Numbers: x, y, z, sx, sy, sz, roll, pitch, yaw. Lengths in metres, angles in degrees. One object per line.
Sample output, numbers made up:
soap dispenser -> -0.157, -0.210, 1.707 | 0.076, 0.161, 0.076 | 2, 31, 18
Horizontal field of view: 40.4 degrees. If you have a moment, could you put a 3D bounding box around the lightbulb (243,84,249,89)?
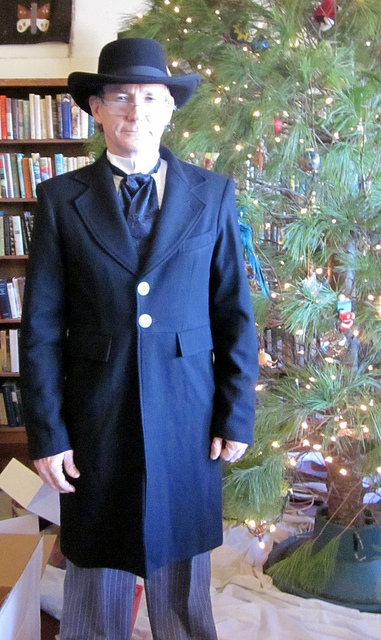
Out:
lightbulb -> 0.152, -0.627, 1.397 | 0.012, 0.009, 0.016 | 2, 5, 6

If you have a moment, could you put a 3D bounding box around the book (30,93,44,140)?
book -> -0.829, -1.082, 2.793 | 0.045, 0.193, 0.193 | 2, 8, -13

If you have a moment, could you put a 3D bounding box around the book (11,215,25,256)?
book -> -0.957, -0.471, 2.886 | 0.039, 0.169, 0.169 | -2, 2, -10

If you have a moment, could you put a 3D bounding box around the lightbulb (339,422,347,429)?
lightbulb -> 0.403, 0.280, 1.368 | 0.023, 0.018, 0.009 | 0, 6, -16

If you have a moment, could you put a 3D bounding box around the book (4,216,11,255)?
book -> -1.019, -0.476, 2.891 | 0.036, 0.151, 0.153 | -1, 5, -16

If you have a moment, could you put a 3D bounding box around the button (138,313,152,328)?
button -> -0.076, 0.002, 0.865 | 0.023, 0.022, 0.008 | 0, 6, -13

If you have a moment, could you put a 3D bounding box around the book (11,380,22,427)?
book -> -1.016, 0.481, 3.014 | 0.044, 0.184, 0.184 | -6, 11, -20

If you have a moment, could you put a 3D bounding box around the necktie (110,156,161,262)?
necktie -> -0.088, -0.211, 0.949 | 0.120, 0.051, 0.286 | 11, 39, -17

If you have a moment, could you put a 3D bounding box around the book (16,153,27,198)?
book -> -0.922, -0.785, 2.826 | 0.040, 0.165, 0.167 | -7, 8, -16

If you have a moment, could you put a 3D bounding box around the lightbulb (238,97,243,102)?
lightbulb -> 0.135, -0.597, 1.406 | 0.011, 0.010, 0.013 | 4, 6, 22

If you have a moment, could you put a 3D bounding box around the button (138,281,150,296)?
button -> -0.077, -0.051, 0.856 | 0.008, 0.024, 0.020 | 7, 7, 42

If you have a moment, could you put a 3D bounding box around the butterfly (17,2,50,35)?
butterfly -> -0.796, -1.548, 2.656 | 0.162, 0.160, 0.011 | 6, 32, 9

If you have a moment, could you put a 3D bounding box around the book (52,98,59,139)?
book -> -0.727, -1.080, 2.794 | 0.037, 0.158, 0.158 | 0, 26, -11

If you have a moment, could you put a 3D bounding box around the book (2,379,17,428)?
book -> -1.042, 0.488, 2.987 | 0.046, 0.196, 0.194 | -4, 6, -12

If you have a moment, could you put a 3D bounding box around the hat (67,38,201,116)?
hat -> -0.092, -0.452, 0.957 | 0.235, 0.095, 0.254 | -1, 7, -16

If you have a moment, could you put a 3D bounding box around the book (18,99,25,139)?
book -> -0.909, -1.083, 2.784 | 0.037, 0.158, 0.158 | -1, 8, -12

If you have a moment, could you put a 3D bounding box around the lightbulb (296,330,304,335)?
lightbulb -> 0.286, 0.032, 1.355 | 0.012, 0.011, 0.012 | 8, 19, 25

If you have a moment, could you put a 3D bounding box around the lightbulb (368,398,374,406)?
lightbulb -> 0.469, 0.215, 1.347 | 0.013, 0.019, 0.005 | 5, -7, 5

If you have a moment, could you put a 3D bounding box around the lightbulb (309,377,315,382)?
lightbulb -> 0.327, 0.160, 1.393 | 0.016, 0.011, 0.004 | 11, 11, 35

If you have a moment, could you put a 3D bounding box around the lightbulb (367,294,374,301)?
lightbulb -> 0.465, -0.058, 1.339 | 0.014, 0.015, 0.011 | 0, -18, 1

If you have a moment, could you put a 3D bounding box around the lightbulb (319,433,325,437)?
lightbulb -> 0.360, 0.314, 1.406 | 0.015, 0.007, 0.020 | 0, 1, 8

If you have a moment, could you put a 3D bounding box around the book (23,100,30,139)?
book -> -0.880, -1.082, 2.793 | 0.036, 0.155, 0.155 | 1, 14, -10

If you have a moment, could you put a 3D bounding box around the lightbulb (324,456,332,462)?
lightbulb -> 0.391, 0.394, 1.464 | 0.018, 0.016, 0.018 | -2, 25, 7

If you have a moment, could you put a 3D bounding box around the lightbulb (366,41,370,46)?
lightbulb -> 0.445, -0.692, 1.302 | 0.008, 0.008, 0.004 | 3, 5, 11

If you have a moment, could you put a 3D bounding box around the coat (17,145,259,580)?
coat -> -0.091, 0.089, 0.954 | 0.418, 0.834, 0.205 | 0, 6, -22

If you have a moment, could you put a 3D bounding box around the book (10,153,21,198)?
book -> -0.956, -0.788, 2.835 | 0.039, 0.169, 0.168 | -2, 4, -16

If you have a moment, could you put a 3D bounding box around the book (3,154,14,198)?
book -> -0.985, -0.781, 2.823 | 0.038, 0.160, 0.161 | -3, 1, -14

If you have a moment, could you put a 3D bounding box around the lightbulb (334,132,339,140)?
lightbulb -> 0.374, -0.474, 1.332 | 0.010, 0.017, 0.045 | 3, 6, 17

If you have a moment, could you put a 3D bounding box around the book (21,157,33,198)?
book -> -0.886, -0.768, 2.830 | 0.032, 0.139, 0.140 | -5, 6, -14
